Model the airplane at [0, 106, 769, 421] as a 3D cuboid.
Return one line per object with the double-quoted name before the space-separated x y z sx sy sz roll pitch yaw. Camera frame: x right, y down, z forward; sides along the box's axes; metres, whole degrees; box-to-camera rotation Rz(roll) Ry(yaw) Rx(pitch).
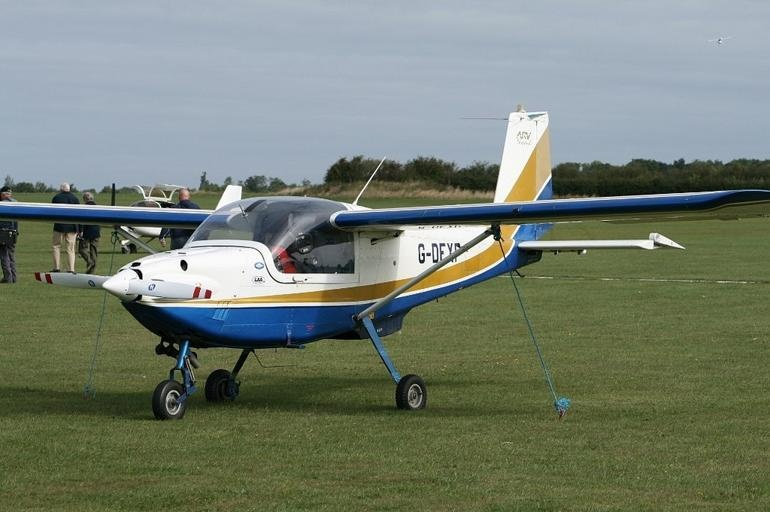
"airplane" -0.014 0.066 17.086 7.229 2.120 5.629 -2 0 39
